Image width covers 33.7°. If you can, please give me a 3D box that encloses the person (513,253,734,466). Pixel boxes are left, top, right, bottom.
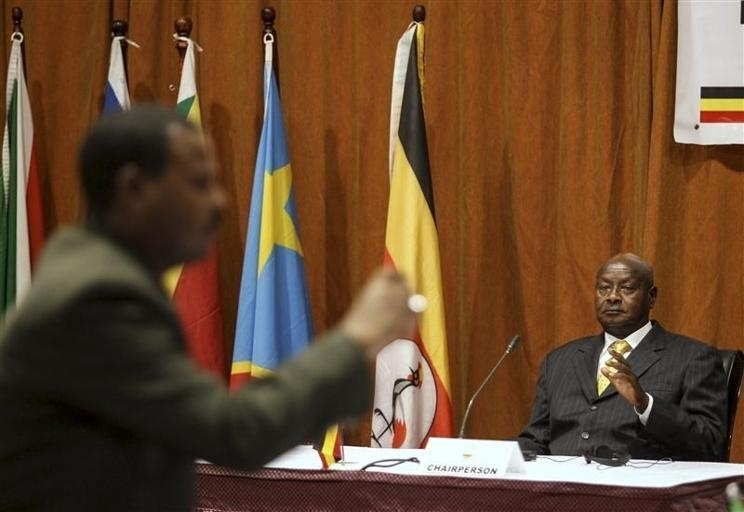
[{"bbox_3d":[1.344,0.534,6.332,0.606,0.648,1.187,-11,44,29],"label":"person"}]

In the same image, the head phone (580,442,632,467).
[{"bbox_3d":[1.066,0.910,5.594,0.140,0.057,0.111,1,3,-21],"label":"head phone"}]

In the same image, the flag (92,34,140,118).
[{"bbox_3d":[-1.434,-1.023,6.949,0.175,0.402,0.356,-3,12,-2],"label":"flag"}]
